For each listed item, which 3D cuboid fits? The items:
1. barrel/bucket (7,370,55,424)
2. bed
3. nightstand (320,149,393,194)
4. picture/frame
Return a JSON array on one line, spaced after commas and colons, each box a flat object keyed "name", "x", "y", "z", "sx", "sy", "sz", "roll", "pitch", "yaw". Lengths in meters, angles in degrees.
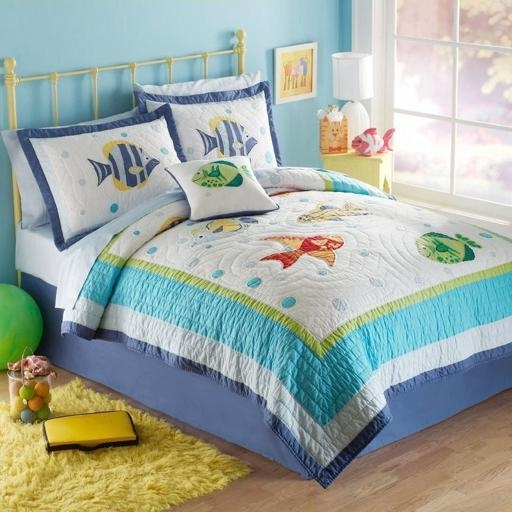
[{"name": "barrel/bucket", "x": -0.782, "y": 0.496, "z": 1.809, "sx": 0.201, "sy": 0.171, "sz": 0.181, "roll": 1, "pitch": 4, "yaw": 0}, {"name": "bed", "x": 0.012, "y": -0.009, "z": 1.706, "sx": 1.255, "sy": 0.719, "sz": 1.028, "roll": 19, "pitch": 33, "yaw": 35}, {"name": "nightstand", "x": 0.660, "y": -0.499, "z": 3.230, "sx": 0.376, "sy": 0.299, "sz": 0.356, "roll": 13, "pitch": 26, "yaw": 29}, {"name": "picture/frame", "x": 0.255, "y": -1.231, "z": 3.333, "sx": 0.509, "sy": 0.422, "sz": 0.032, "roll": -11, "pitch": 17, "yaw": -39}]
